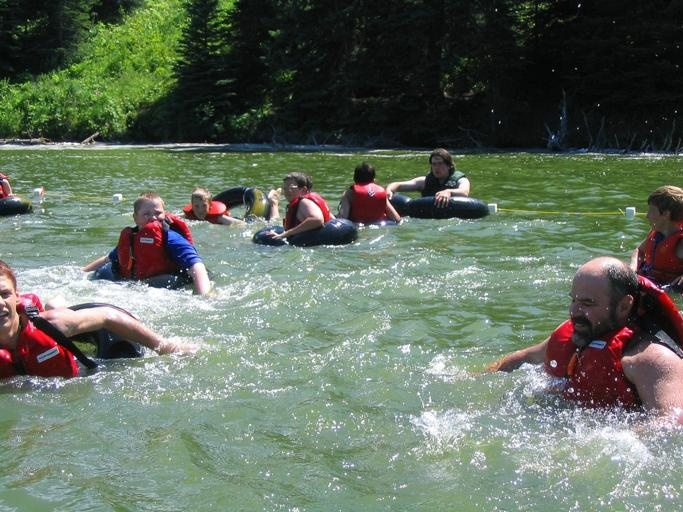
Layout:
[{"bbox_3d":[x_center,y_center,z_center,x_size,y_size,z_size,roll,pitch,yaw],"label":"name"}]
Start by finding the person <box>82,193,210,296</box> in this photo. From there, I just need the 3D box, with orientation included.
[{"bbox_3d":[-2.372,-0.116,10.103,1.552,0.893,0.513,3,9,17],"label":"person"}]

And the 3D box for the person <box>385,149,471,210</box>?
[{"bbox_3d":[1.496,-1.210,13.358,1.319,0.927,1.476,5,13,26],"label":"person"}]

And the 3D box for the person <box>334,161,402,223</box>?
[{"bbox_3d":[0.350,-0.955,12.452,1.090,1.257,0.825,-3,36,-3],"label":"person"}]

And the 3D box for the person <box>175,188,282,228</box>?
[{"bbox_3d":[-1.677,-0.778,13.095,0.981,0.318,0.886,-9,23,-12],"label":"person"}]

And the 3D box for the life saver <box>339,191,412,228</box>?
[{"bbox_3d":[0.389,-0.857,12.309,0.981,0.617,0.484,-1,28,-5],"label":"life saver"}]
